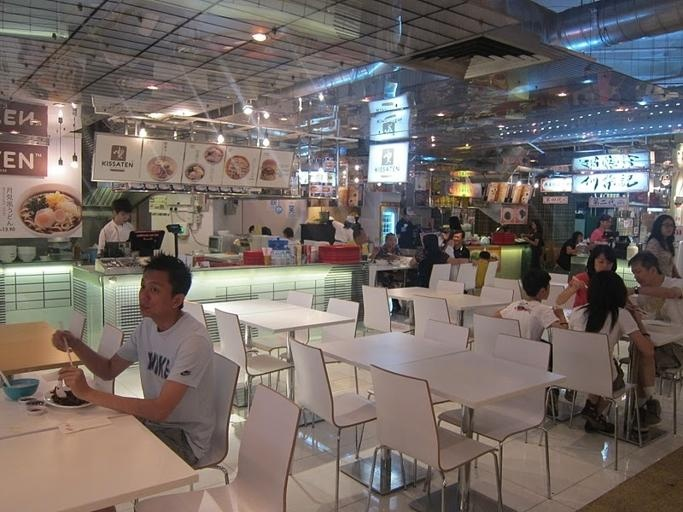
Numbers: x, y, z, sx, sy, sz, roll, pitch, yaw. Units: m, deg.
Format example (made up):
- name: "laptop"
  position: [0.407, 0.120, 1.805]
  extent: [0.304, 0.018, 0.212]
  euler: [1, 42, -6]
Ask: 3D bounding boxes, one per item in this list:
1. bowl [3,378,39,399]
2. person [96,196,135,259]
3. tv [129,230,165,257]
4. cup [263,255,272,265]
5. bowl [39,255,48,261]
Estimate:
- name: "bowl"
  position: [-1.839, 0.754, 3.005]
  extent: [0.129, 0.057, 0.123]
  euler: [1, -6, 0]
- name: "person"
  position: [-3.159, -0.430, 7.272]
  extent: [0.479, 1.038, 0.492]
  euler: [13, 10, 43]
- name: "tv"
  position: [-2.548, -0.141, 6.853]
  extent: [0.446, 0.409, 0.352]
  euler: [3, -4, -36]
- name: "cup"
  position: [-1.089, 0.055, 7.805]
  extent: [0.127, 0.129, 0.121]
  euler: [0, -1, 0]
- name: "bowl"
  position: [-4.517, 0.031, 7.866]
  extent: [0.104, 0.071, 0.102]
  euler: [-1, -6, 0]
